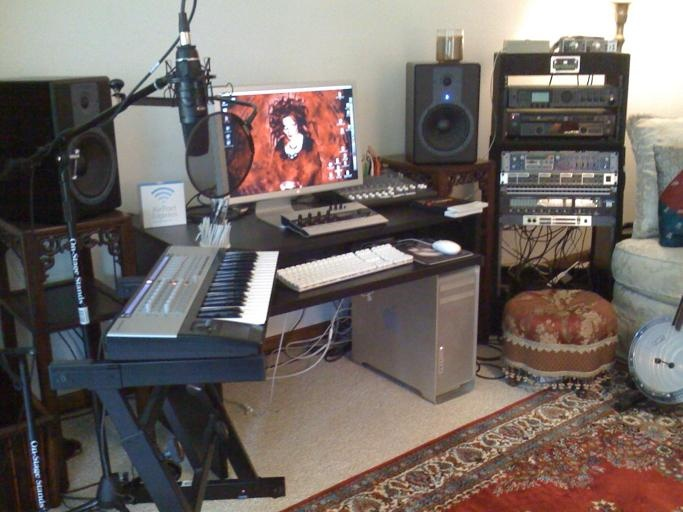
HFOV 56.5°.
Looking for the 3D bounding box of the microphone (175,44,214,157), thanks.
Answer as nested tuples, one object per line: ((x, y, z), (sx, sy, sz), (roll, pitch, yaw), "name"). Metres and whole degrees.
((-0.456, -0.482, 1.976), (0.105, 0.335, 0.188), (-5, 16, -11), "microphone")

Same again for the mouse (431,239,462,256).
((0.465, -0.043, 2.762), (0.088, 0.047, 0.068), (11, 7, 40), "mouse")

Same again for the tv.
((-0.246, -0.448, 2.736), (0.537, 0.466, 0.157), (-16, 26, -34), "tv")

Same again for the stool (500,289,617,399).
((1.032, 0.376, 3.062), (0.447, 0.295, 0.435), (-20, 25, -38), "stool")

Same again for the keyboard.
((0.028, 0.041, 2.551), (0.591, 0.064, 0.174), (-12, 20, -30), "keyboard")
